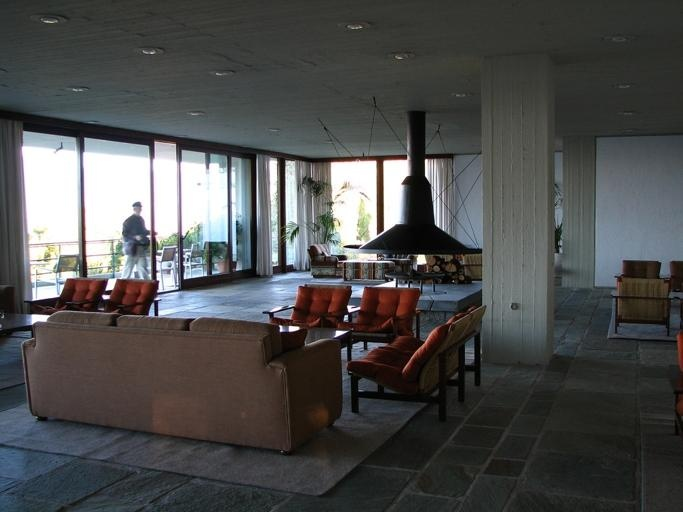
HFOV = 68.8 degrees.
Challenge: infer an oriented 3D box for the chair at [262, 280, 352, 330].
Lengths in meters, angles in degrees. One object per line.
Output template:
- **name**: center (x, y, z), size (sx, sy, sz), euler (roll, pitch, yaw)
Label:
- **chair**: center (-0.430, 0.630, 6.178), size (0.862, 0.642, 0.646), euler (-1, -6, 27)

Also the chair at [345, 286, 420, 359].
- **chair**: center (0.507, 0.777, 6.016), size (0.984, 0.745, 0.778), euler (-1, 1, 30)

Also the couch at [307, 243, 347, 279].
- **couch**: center (-0.484, 0.155, 14.258), size (0.889, 0.874, 1.229), euler (-1, 5, -6)

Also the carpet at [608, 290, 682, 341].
- **carpet**: center (4.489, 1.012, 7.502), size (1.168, 0.474, 1.119), euler (-1, -1, 22)

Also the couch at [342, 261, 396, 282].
- **couch**: center (0.646, 0.382, 12.477), size (1.273, 0.478, 0.441), euler (0, 6, 4)

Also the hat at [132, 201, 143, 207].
- **hat**: center (-4.488, -1.132, 10.875), size (0.155, 0.106, 0.124), euler (4, -3, -10)

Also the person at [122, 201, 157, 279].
- **person**: center (-4.483, -0.340, 10.869), size (0.206, 1.700, 0.690), euler (3, 7, 27)

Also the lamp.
- **lamp**: center (1.031, -1.027, 7.226), size (1.322, 1.873, 1.568), euler (0, 6, 4)
